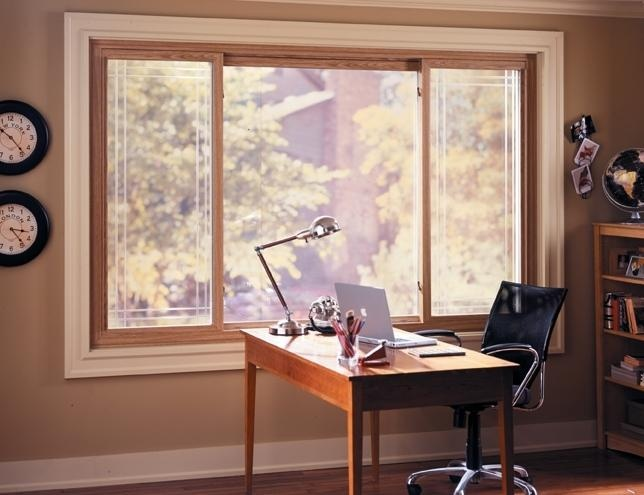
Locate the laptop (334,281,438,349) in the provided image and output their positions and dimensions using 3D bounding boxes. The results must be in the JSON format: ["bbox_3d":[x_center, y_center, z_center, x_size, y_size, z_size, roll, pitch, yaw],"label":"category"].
[{"bbox_3d":[0.349,0.342,3.594,0.390,0.315,0.438,1,0,-26],"label":"laptop"}]

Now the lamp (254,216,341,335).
[{"bbox_3d":[-0.195,0.165,4.170,0.471,0.746,0.631,0,6,-12],"label":"lamp"}]

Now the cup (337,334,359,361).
[{"bbox_3d":[0.137,0.507,3.296,0.111,0.125,0.111,-1,1,0],"label":"cup"}]
